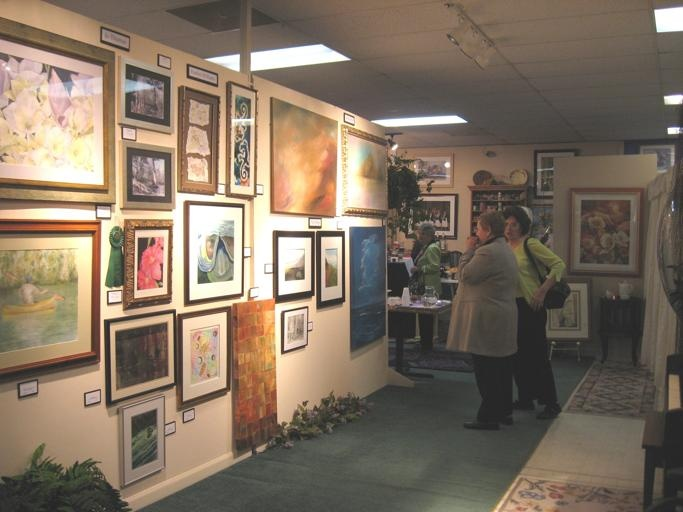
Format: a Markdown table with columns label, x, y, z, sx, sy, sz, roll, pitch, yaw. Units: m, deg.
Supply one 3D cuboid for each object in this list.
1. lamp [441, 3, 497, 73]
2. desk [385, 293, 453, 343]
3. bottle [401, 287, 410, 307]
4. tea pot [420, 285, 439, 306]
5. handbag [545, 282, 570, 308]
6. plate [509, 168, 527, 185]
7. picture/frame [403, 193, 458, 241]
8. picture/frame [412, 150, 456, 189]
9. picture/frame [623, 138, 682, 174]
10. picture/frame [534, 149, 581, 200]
| label | x | y | z | sx | sy | sz | roll | pitch | yaw |
| --- | --- | --- | --- | --- | --- | --- | --- | --- | --- |
| lamp | 1.376 | -2.415 | 5.781 | 0.306 | 0.394 | 1.148 | -31 | -22 | 21 |
| desk | 1.023 | 0.706 | 7.188 | 0.969 | 0.499 | 0.673 | 3 | 7 | 23 |
| bottle | 0.899 | 0.573 | 7.227 | 0.176 | 0.259 | 0.193 | -1 | 1 | 0 |
| tea pot | 1.184 | 0.552 | 7.165 | 0.256 | 0.267 | 0.167 | 1 | -2 | -5 |
| handbag | 2.314 | 0.467 | 5.718 | 0.219 | 0.304 | 0.108 | 20 | -9 | 42 |
| plate | 4.175 | -1.856 | 12.547 | 0.410 | 0.349 | 0.243 | 1 | 2 | 13 |
| picture/frame | 1.898 | -0.786 | 10.909 | 1.118 | 1.040 | 0.082 | 2 | 3 | 17 |
| picture/frame | 2.359 | -2.173 | 13.465 | 0.942 | 0.894 | 0.208 | 1 | 2 | 13 |
| picture/frame | 6.861 | -2.223 | 11.786 | 1.078 | 0.697 | 0.334 | 1 | 2 | 4 |
| picture/frame | 4.903 | -1.898 | 12.441 | 0.783 | 1.145 | 0.129 | 2 | 2 | 20 |
